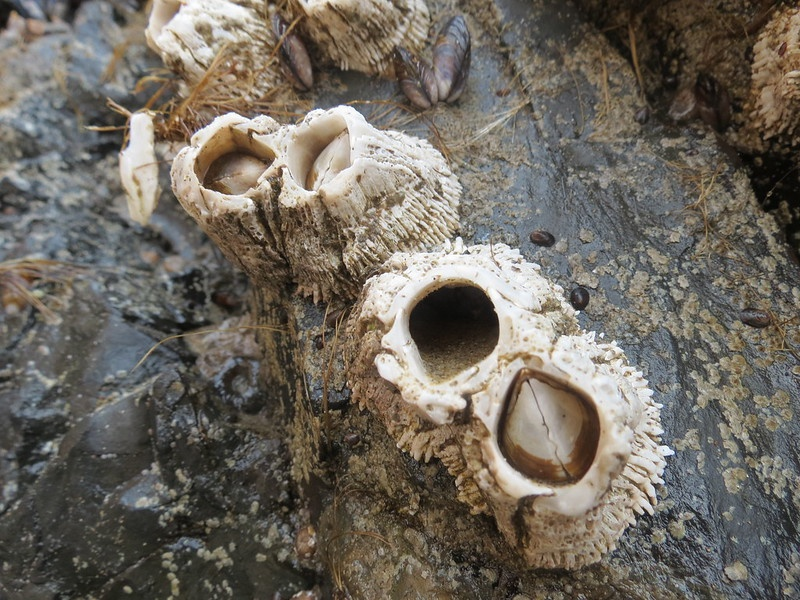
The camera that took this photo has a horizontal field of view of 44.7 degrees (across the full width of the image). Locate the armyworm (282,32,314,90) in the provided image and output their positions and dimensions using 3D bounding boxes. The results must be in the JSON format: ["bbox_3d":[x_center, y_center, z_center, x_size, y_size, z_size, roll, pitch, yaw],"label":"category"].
[{"bbox_3d":[-0.770,-1.824,7.376,0.211,0.079,0.359,-21,93,-46],"label":"armyworm"}]

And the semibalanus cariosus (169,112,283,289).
[{"bbox_3d":[-0.987,-0.682,6.868,0.844,1.089,0.771,21,65,20],"label":"semibalanus cariosus"}]

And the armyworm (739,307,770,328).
[{"bbox_3d":[2.426,0.118,6.623,0.217,0.029,0.125,18,83,7],"label":"armyworm"}]

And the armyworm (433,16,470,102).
[{"bbox_3d":[0.386,-1.833,7.262,0.284,0.176,0.661,0,81,4],"label":"armyworm"}]

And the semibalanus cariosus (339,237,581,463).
[{"bbox_3d":[0.427,0.366,6.780,1.463,0.424,1.445,-46,70,1],"label":"semibalanus cariosus"}]

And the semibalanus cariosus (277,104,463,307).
[{"bbox_3d":[-0.260,-0.600,6.986,1.292,0.756,1.165,43,87,13],"label":"semibalanus cariosus"}]

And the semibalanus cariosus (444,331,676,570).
[{"bbox_3d":[1.096,0.935,6.140,1.304,0.703,1.364,-31,80,-1],"label":"semibalanus cariosus"}]
